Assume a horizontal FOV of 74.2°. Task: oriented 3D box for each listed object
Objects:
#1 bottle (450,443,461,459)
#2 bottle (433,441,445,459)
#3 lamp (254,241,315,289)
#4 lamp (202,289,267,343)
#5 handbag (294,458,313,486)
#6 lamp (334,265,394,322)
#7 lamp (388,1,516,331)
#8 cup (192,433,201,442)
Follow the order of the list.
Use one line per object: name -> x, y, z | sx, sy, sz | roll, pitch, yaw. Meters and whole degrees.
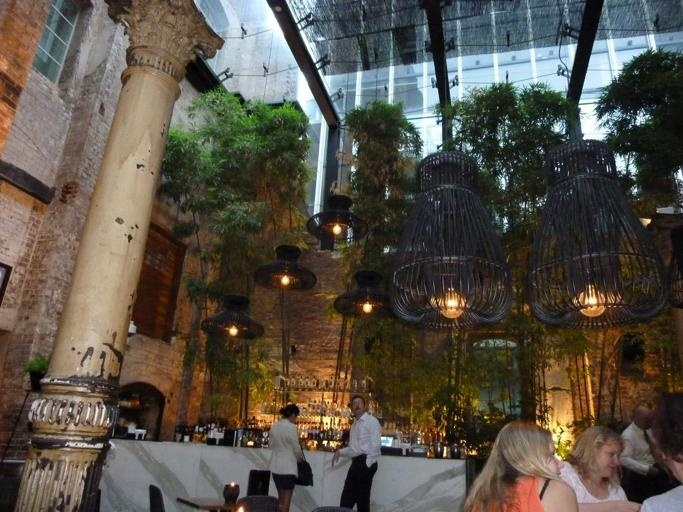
bottle -> 1.283, 2.243, 5.195 | 0.112, 0.160, 0.114 | 3, -21, 1
bottle -> 1.165, 2.299, 5.377 | 0.135, 0.155, 0.800 | -2, -22, 12
lamp -> -0.732, 0.236, 5.984 | 0.645, 0.327, 0.659 | -1, -19, 10
lamp -> -1.457, 0.807, 6.110 | 0.822, 0.481, 0.749 | 9, -22, -16
handbag -> -0.430, 2.449, 5.158 | 0.178, 0.270, 0.154 | 6, -21, -9
lamp -> 0.265, 0.475, 5.694 | 0.726, 0.450, 0.637 | 0, -21, 7
lamp -> 1.022, -0.229, 4.323 | 1.084, 1.693, 0.761 | 1, -21, 6
cup -> -2.359, 2.936, 7.333 | 0.126, 0.126, 0.129 | 0, -11, 0
